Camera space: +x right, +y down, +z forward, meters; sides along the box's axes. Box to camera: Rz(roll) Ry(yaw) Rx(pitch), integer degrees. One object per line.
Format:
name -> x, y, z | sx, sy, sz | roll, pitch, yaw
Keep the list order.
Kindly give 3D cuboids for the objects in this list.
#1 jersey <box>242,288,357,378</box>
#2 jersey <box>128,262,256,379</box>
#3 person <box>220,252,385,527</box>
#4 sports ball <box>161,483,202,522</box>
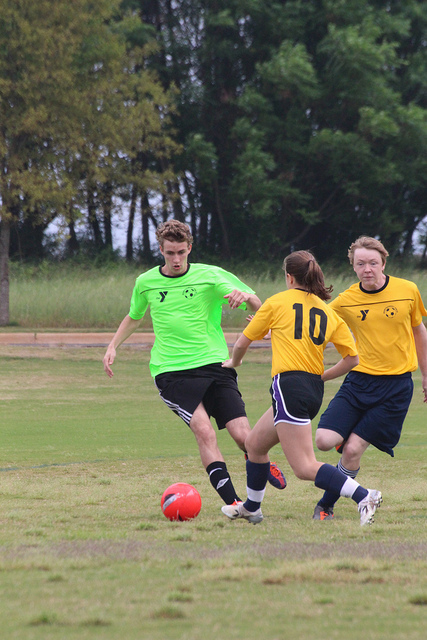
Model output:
jersey -> 0.557, 0.133, 6.550 | 0.832, 0.584, 0.282 | 9, -15, -27
jersey -> -0.219, -0.011, 7.225 | 1.143, 0.825, 0.543 | -3, -3, 18
person -> 0.581, 0.483, 6.840 | 1.087, 1.860, 1.124 | 1, 2, 5
sports ball -> -0.216, 1.244, 6.898 | 0.258, 0.224, 0.234 | 1, -13, 1
